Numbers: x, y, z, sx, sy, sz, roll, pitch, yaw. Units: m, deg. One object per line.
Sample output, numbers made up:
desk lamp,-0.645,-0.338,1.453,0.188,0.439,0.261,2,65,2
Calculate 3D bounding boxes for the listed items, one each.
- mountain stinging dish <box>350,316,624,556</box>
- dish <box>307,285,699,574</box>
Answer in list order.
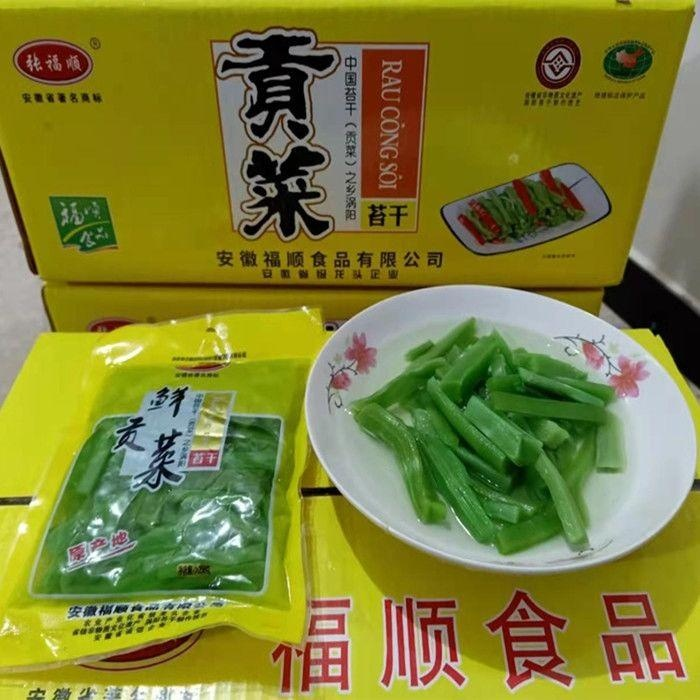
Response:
mountain stinging dish,0.209,0.132,0.821,0.278,0.090,0.279,-37,62,-24
dish,0.226,0.122,0.846,0.370,0.093,0.440,-1,48,5
